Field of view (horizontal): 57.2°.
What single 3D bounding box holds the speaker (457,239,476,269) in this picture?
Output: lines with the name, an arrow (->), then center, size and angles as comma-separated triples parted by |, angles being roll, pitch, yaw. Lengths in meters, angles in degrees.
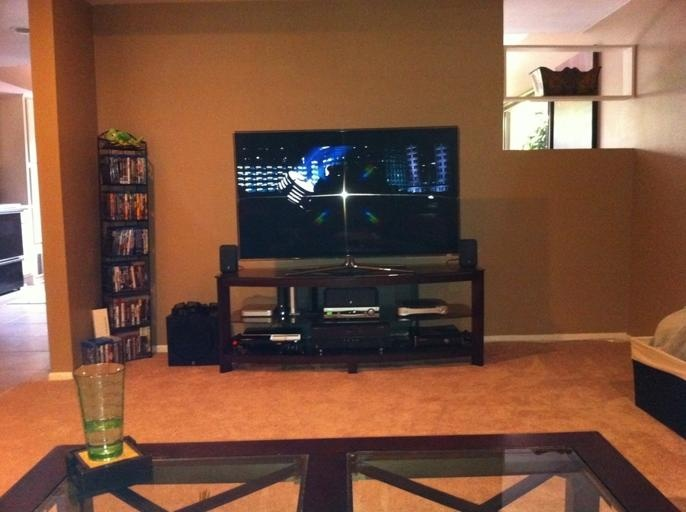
speaker -> 0.977, -0.015, 4.901 | 0.139, 0.211, 0.170 | 0, 14, 7

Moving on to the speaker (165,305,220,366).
speaker -> -1.199, 0.618, 5.071 | 0.387, 0.487, 0.273 | -1, 9, -11

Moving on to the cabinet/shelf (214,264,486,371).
cabinet/shelf -> 0.069, 0.516, 5.002 | 2.003, 0.782, 0.648 | -1, 5, -3
